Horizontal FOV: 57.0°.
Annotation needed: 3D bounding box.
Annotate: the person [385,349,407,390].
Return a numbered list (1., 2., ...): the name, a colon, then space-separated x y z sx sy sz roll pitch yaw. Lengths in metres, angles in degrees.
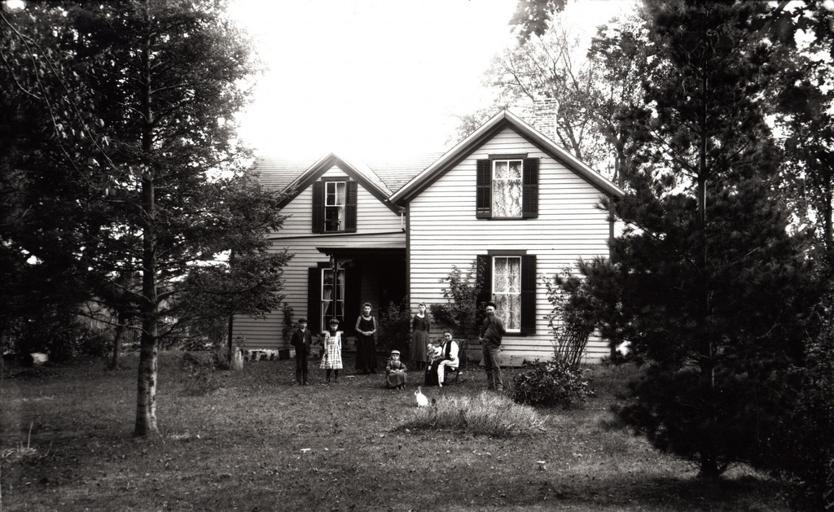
1. person: -0.593 2.997 20.763 0.561 1.048 0.838 -1 4 -3

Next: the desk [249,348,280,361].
1. desk: -5.564 3.533 27.707 1.144 0.331 0.930 -1 4 1

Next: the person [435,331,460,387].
1. person: 0.866 2.967 21.805 0.663 1.236 0.733 29 -39 -30
